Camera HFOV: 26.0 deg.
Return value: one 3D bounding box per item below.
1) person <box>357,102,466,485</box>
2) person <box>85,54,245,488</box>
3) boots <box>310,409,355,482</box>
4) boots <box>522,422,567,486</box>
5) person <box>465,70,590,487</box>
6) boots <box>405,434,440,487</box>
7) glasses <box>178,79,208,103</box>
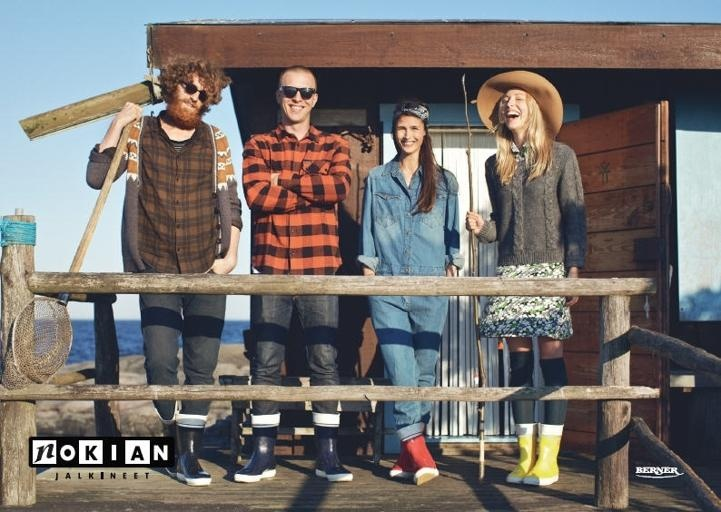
[{"bbox_3d":[0.438,0.332,14.404,0.942,3.487,0.483,-2,-4,3],"label":"person"},{"bbox_3d":[-1.654,0.144,14.061,1.178,3.847,0.559,-1,-4,-5],"label":"person"},{"bbox_3d":[-0.270,1.742,14.319,0.339,0.629,0.166,-2,-4,11],"label":"boots"},{"bbox_3d":[1.591,1.795,14.144,0.357,0.551,0.209,-2,-4,5],"label":"boots"},{"bbox_3d":[1.482,0.184,14.242,1.020,3.776,0.776,-2,-4,12],"label":"person"},{"bbox_3d":[0.516,1.850,14.224,0.288,0.448,0.276,-2,-4,1],"label":"boots"},{"bbox_3d":[-1.485,-1.471,14.106,0.245,0.174,0.058,0,-5,-25],"label":"glasses"}]
